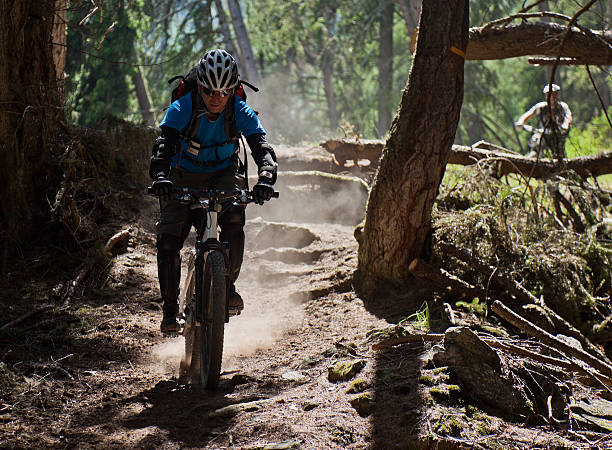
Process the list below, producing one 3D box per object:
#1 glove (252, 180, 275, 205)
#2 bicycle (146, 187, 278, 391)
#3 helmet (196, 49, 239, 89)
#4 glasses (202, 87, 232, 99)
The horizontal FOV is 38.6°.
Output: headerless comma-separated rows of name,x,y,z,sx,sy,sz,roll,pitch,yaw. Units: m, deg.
glove,-0.552,-0.393,11.540,0.259,0.299,0.370,10,12,32
bicycle,-1.324,0.832,11.719,0.889,2.690,0.670,7,10,25
helmet,-1.185,-2.180,11.778,0.379,0.320,0.628,1,47,-8
glasses,-1.211,-1.773,11.736,0.375,0.121,0.134,4,10,-5
